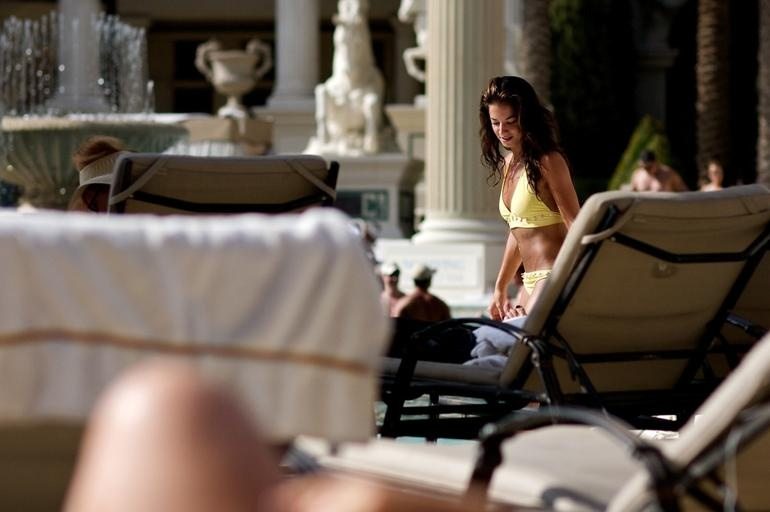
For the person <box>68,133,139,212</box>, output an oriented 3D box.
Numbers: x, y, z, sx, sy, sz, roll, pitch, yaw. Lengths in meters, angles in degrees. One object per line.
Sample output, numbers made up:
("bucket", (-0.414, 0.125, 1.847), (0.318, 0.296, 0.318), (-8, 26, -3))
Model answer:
("person", (-3.083, -1.014, 18.956), (0.732, 0.644, 0.795), (-18, -6, -30))
